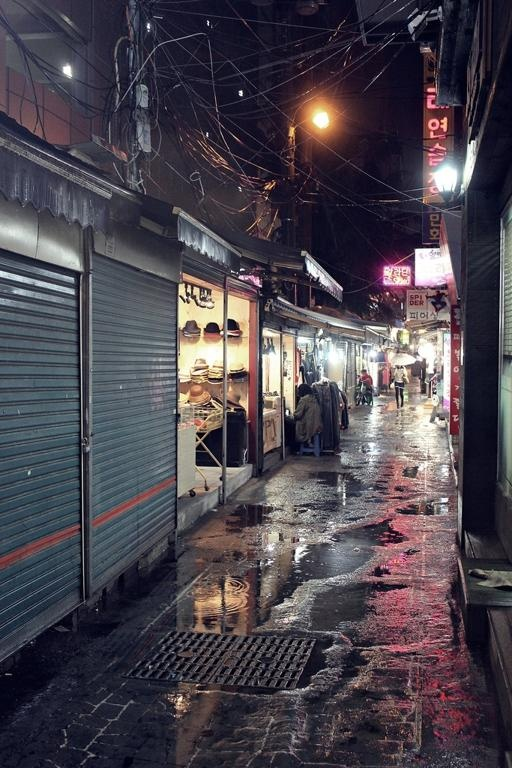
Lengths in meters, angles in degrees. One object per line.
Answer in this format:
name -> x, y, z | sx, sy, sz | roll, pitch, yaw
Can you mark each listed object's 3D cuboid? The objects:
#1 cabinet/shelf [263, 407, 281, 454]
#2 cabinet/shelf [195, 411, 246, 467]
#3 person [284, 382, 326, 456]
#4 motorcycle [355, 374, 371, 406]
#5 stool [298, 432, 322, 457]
cabinet/shelf -> 0.341, 1.011, 13.406 | 0.259, 0.939, 1.579 | -1, -2, 6
cabinet/shelf -> -0.560, 1.023, 11.310 | 1.123, 1.173, 0.877 | 0, -3, -2
person -> 1.256, 0.842, 15.120 | 0.894, 1.708, 0.917 | -2, -2, 37
motorcycle -> 5.671, 0.328, 32.766 | 0.799, 1.044, 1.631 | -1, -4, 10
stool -> 1.296, 1.422, 14.999 | 0.489, 0.703, 0.516 | 0, 1, 8
